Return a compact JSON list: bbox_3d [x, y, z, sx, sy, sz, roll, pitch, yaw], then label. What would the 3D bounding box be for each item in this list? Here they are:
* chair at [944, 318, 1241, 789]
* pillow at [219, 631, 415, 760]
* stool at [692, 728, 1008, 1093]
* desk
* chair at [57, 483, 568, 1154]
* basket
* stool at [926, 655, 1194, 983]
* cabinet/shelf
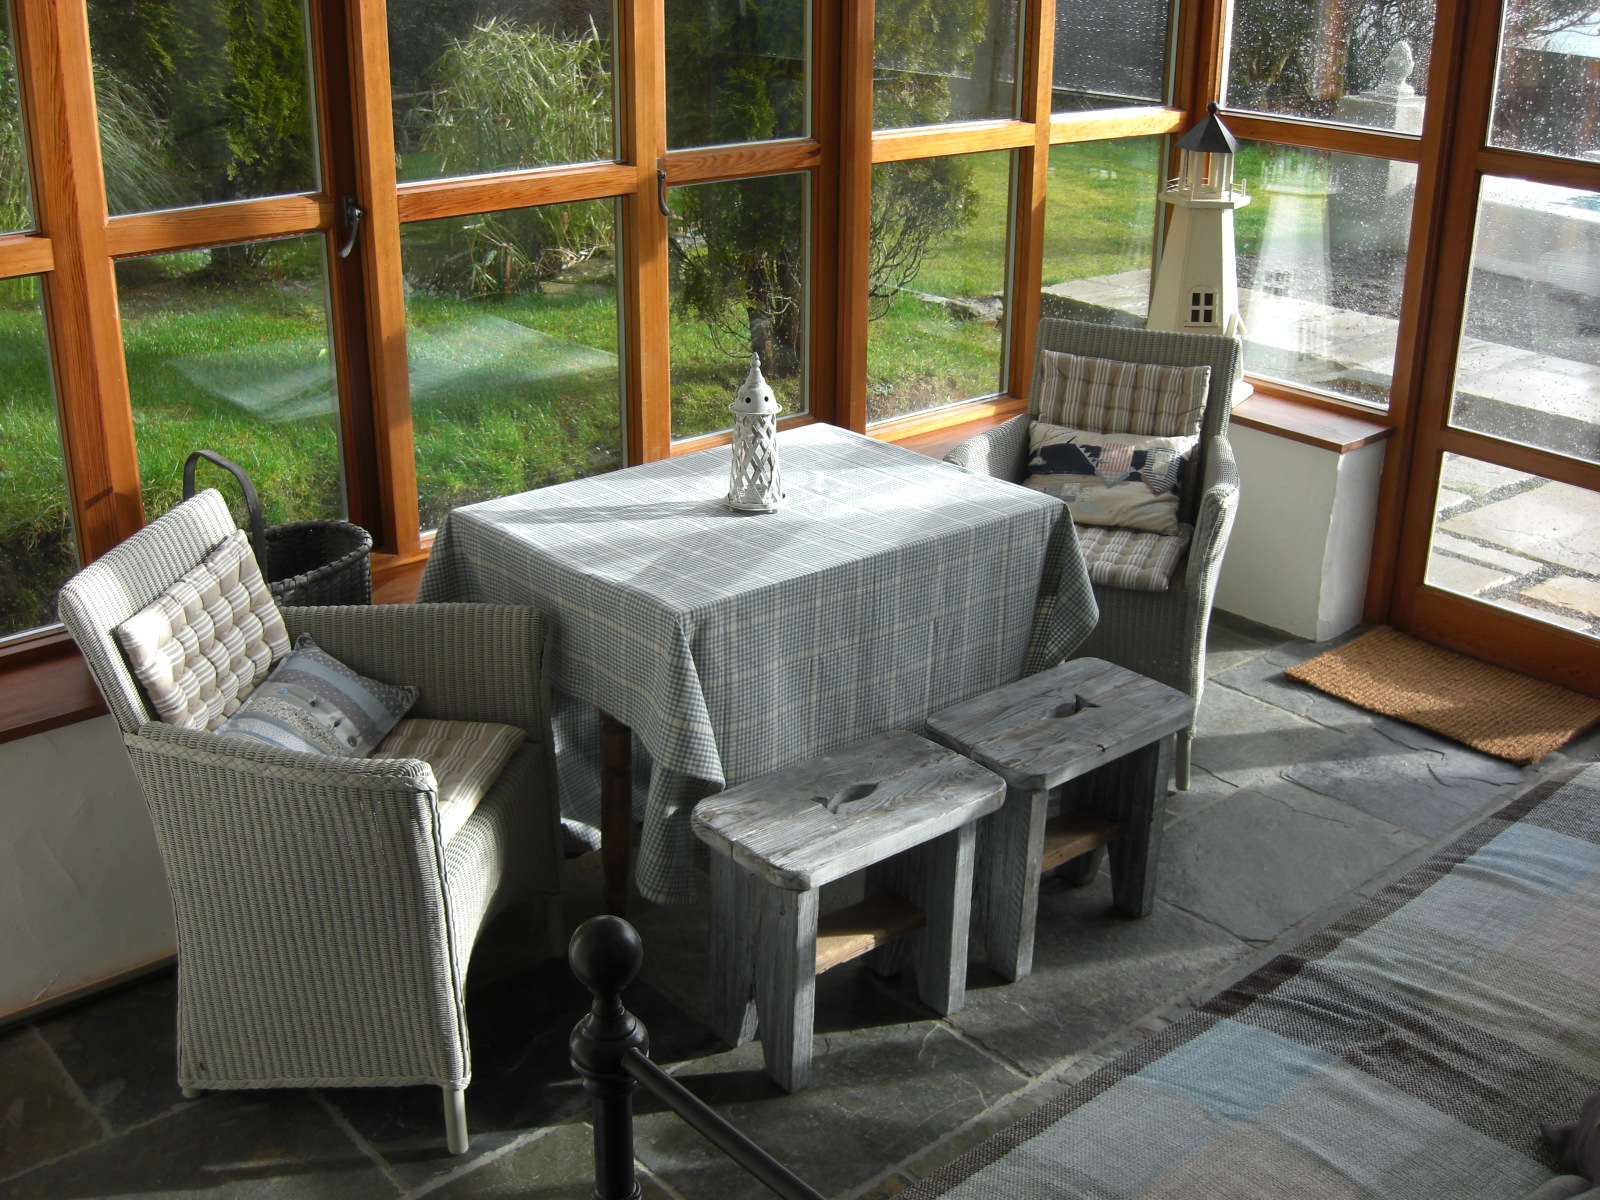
[{"bbox_3d":[0.922,-0.206,3.867,0.811,1.057,0.744,5,27,15],"label":"chair"},{"bbox_3d":[-1.003,0.223,2.621,0.317,0.073,0.217,23,48,15],"label":"pillow"},{"bbox_3d":[0.091,0.673,2.738,0.363,0.522,0.657,18,21,42],"label":"stool"},{"bbox_3d":[-0.102,0.036,3.316,1.428,0.628,1.176,-17,28,-36],"label":"desk"},{"bbox_3d":[-0.994,0.388,2.610,0.850,0.960,0.829,2,20,-6],"label":"chair"},{"bbox_3d":[-1.295,-0.177,3.057,0.362,0.337,0.229,-21,41,-33],"label":"basket"},{"bbox_3d":[0.595,0.523,2.956,0.575,0.519,0.370,-20,35,-32],"label":"stool"},{"bbox_3d":[1.772,-0.280,4.353,0.298,0.673,0.684,-25,37,-37],"label":"cabinet/shelf"}]
